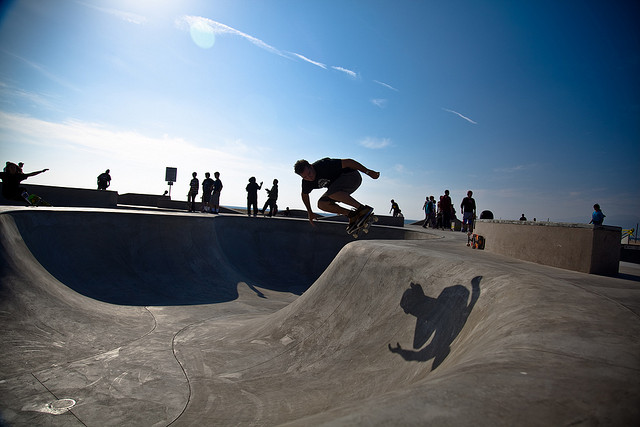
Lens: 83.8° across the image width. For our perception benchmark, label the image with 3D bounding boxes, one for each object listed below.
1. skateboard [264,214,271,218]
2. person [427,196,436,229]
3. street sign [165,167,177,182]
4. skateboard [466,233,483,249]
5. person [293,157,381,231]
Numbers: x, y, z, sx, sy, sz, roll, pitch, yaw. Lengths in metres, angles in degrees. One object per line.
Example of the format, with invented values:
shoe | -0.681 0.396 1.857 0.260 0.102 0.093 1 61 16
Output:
skateboard | -2.618 0.129 17.625 0.421 0.111 0.448 -1 -6 36
person | 5.496 -0.021 17.607 0.384 1.483 1.557 -1 2 17
street sign | -7.593 -1.959 18.187 0.467 0.753 1.230 -3 2 -25
skateboard | 3.016 0.545 6.883 0.179 0.236 0.424 -2 2 -2
person | 0.206 -0.235 6.124 0.610 0.881 0.922 -8 30 -31
